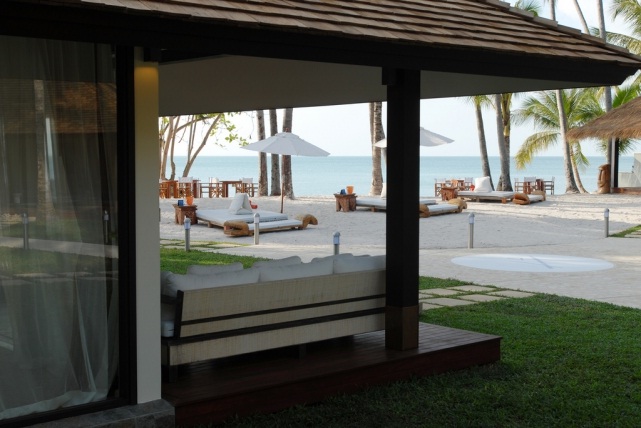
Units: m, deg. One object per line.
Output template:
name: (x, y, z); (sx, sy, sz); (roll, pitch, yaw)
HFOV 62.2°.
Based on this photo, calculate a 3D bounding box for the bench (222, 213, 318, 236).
bench: (-1.721, 0.360, 17.330); (2.111, 0.317, 2.412); (12, 11, 41)

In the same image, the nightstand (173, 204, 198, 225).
nightstand: (-4.726, -0.014, 19.046); (0.960, 0.664, 0.885); (-1, 2, -30)

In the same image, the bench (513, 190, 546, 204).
bench: (9.774, -0.720, 24.932); (0.772, 0.409, 1.592); (6, 10, 42)

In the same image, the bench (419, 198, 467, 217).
bench: (4.988, -0.249, 21.619); (0.882, 0.579, 2.826); (6, 8, 38)

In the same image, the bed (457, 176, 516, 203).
bed: (8.420, -1.196, 26.274); (2.537, 1.137, 2.358); (4, 7, 28)

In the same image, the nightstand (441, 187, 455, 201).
nightstand: (6.406, -0.990, 26.227); (0.680, 0.454, 0.673); (5, 7, 40)

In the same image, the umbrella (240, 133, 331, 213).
umbrella: (-1.969, -1.524, 17.630); (2.821, 2.530, 3.761); (-3, 10, -39)

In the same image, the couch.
couch: (-1.122, 1.101, 6.542); (2.924, 0.938, 2.097); (-2, 4, -33)

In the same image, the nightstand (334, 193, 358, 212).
nightstand: (1.164, -0.484, 22.993); (0.857, 0.627, 0.832); (-1, 2, -43)
